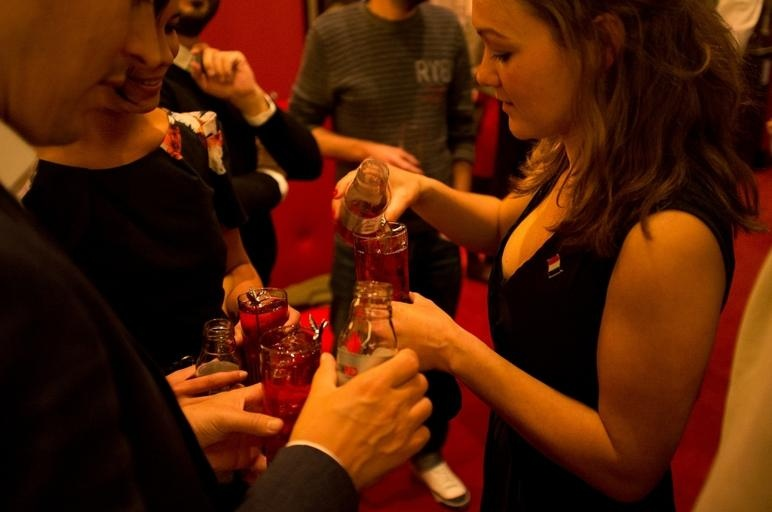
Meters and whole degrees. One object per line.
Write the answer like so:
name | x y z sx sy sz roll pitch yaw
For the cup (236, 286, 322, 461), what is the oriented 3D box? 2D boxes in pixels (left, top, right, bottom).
cup | -0.217 0.243 1.233 0.117 0.386 0.105 -22 49 -29

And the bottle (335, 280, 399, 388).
bottle | -0.034 0.192 1.177 0.105 0.291 0.097 5 17 -2
